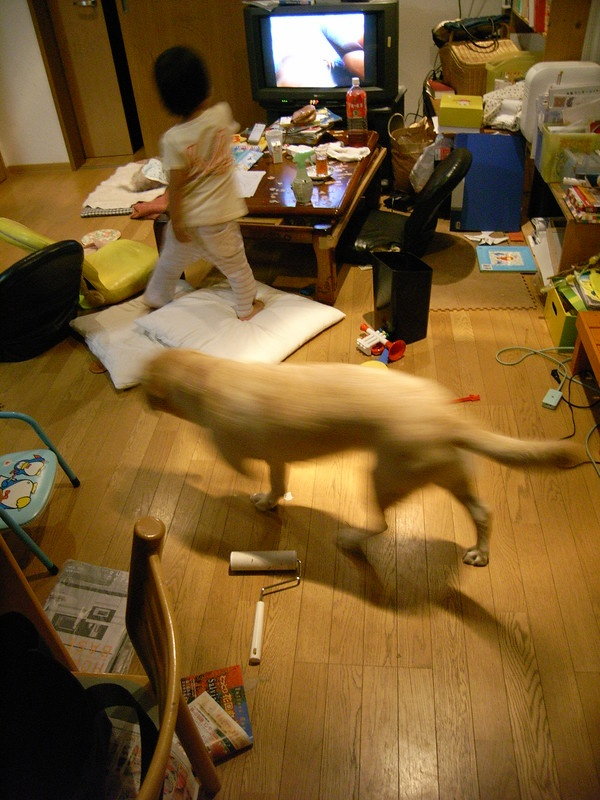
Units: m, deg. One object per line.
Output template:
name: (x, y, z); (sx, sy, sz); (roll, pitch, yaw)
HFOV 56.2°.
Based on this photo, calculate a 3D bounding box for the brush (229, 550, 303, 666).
brush: (-0.120, 0.646, 1.798); (0.249, 0.070, 0.361); (0, 45, 5)

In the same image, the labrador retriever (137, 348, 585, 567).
labrador retriever: (0.162, 0.243, 1.664); (1.158, 0.793, 0.231); (1, 39, 9)

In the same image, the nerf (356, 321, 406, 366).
nerf: (0.401, -0.272, 2.819); (0.174, 0.113, 0.226); (-34, 54, -23)

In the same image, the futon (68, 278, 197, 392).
futon: (-0.962, -0.328, 2.997); (0.587, 0.155, 0.585); (-23, 53, -19)

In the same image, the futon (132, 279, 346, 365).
futon: (-0.279, -0.424, 2.938); (0.661, 0.164, 0.657); (22, 36, 34)

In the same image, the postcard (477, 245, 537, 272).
postcard: (1.248, -0.860, 3.410); (0.231, 0.035, 0.255); (1, 37, 5)

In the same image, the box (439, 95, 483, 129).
box: (1.054, -1.848, 3.703); (0.222, 0.149, 0.308); (15, 43, 17)
